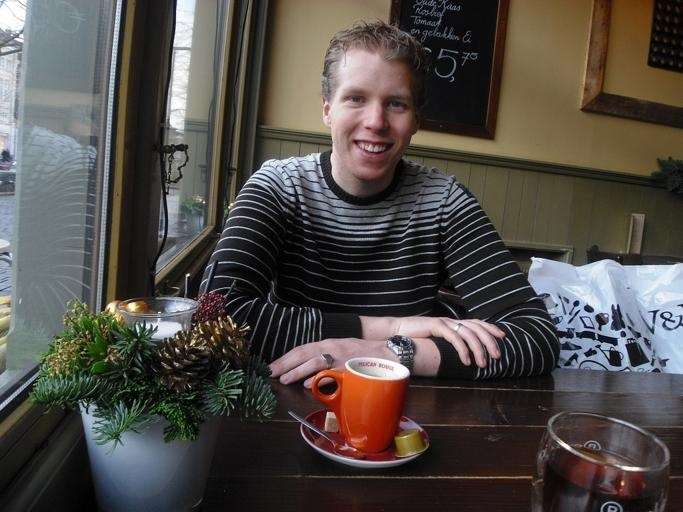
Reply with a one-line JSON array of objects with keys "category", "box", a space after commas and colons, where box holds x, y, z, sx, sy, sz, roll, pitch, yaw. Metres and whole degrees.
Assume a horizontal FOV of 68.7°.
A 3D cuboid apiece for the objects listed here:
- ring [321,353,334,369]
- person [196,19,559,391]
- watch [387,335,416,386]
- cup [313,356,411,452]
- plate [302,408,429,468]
[{"category": "ring", "box": [-0.022, 0.202, 0.962, 0.022, 0.034, 0.035, -1, -13, 12]}, {"category": "person", "box": [0.061, -0.048, 1.448, 0.933, 0.951, 0.876, 2, 1, -16]}, {"category": "watch", "box": [0.112, 0.214, 1.059, 0.044, 0.077, 0.076, -3, 25, -9]}, {"category": "cup", "box": [0.037, 0.205, 0.761, 0.145, 0.129, 0.118, 7, 10, 7]}, {"category": "plate", "box": [0.034, 0.261, 0.721, 0.191, 0.036, 0.110, 8, 13, 6]}]
